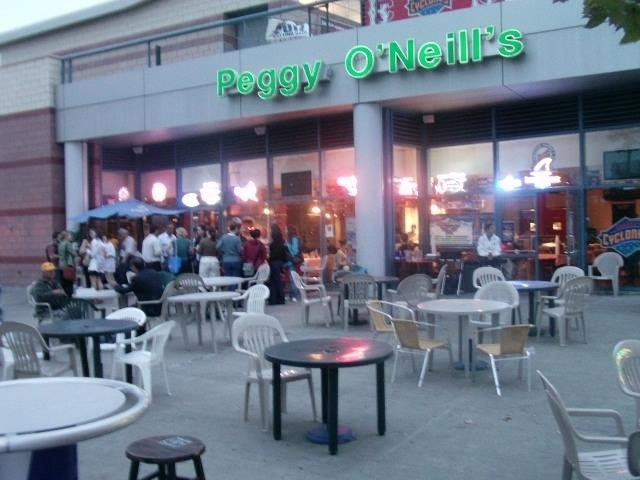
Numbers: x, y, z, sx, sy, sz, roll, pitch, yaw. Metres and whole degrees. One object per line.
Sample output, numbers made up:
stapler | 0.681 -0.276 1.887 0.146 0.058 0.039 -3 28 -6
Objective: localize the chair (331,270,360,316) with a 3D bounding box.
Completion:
chair | 0.463 0.936 11.739 0.616 1.072 0.761 0 7 5

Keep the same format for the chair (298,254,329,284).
chair | -0.161 0.735 16.057 0.684 0.944 0.703 2 -3 -5

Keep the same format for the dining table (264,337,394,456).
dining table | 0.144 1.527 6.795 1.093 0.795 1.076 0 0 -39

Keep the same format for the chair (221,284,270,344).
chair | -1.196 1.089 10.749 0.607 0.843 0.662 -1 -5 25

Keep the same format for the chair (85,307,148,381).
chair | -2.673 1.316 8.675 0.723 0.961 0.759 -1 -8 25

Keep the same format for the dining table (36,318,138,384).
dining table | -2.859 1.244 7.837 0.867 0.591 0.896 3 3 4

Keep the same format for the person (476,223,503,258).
person | 3.995 0.058 15.185 0.526 0.849 0.540 3 14 14

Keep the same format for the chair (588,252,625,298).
chair | 6.426 0.759 14.409 0.908 1.269 0.853 0 2 41

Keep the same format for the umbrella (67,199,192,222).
umbrella | -4.900 -0.750 16.249 2.427 0.510 1.280 1 6 29

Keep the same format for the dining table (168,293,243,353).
dining table | -1.865 1.269 10.734 1.027 0.796 1.060 -1 3 1

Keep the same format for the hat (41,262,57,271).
hat | -4.542 0.467 10.696 0.273 0.161 0.216 -8 -2 28

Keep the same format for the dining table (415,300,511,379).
dining table | 1.964 1.232 8.685 0.998 0.733 1.019 -1 -1 45

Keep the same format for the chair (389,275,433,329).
chair | 1.580 0.997 10.864 0.709 1.008 0.745 -3 7 -12

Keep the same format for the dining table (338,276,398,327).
dining table | 0.752 1.058 11.682 0.932 1.311 0.979 0 4 13
